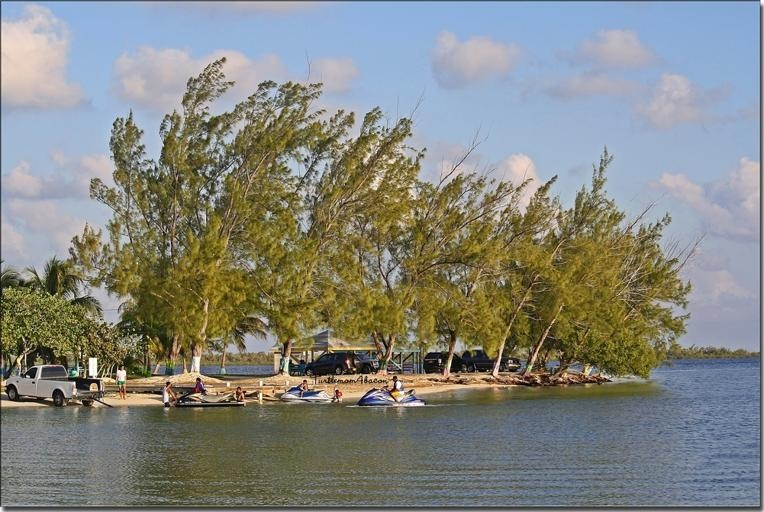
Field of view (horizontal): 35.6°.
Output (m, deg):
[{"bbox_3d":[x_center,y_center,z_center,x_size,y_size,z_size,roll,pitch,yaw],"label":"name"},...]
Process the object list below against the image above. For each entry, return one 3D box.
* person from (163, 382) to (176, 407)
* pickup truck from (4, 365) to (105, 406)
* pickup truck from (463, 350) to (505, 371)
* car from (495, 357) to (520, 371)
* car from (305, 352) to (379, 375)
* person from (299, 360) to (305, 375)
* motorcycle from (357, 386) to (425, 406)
[{"bbox_3d":[-14.526,9.369,80.667,0.867,1.691,3.289,3,-6,-11],"label":"person"},{"bbox_3d":[-21.899,8.639,78.985,6.852,2.704,1.161,0,-5,20],"label":"pickup truck"},{"bbox_3d":[8.779,9.839,110.424,2.821,1.945,3.143,1,-6,10],"label":"pickup truck"},{"bbox_3d":[11.660,10.231,112.139,1.221,1.093,2.195,1,2,-41],"label":"car"},{"bbox_3d":[-3.457,8.873,96.823,4.681,1.879,2.245,4,-7,-27],"label":"car"},{"bbox_3d":[-6.479,9.117,95.482,0.542,0.873,1.142,3,-6,-5],"label":"person"},{"bbox_3d":[0.559,9.854,81.252,4.152,1.535,1.796,4,-10,-8],"label":"motorcycle"}]
